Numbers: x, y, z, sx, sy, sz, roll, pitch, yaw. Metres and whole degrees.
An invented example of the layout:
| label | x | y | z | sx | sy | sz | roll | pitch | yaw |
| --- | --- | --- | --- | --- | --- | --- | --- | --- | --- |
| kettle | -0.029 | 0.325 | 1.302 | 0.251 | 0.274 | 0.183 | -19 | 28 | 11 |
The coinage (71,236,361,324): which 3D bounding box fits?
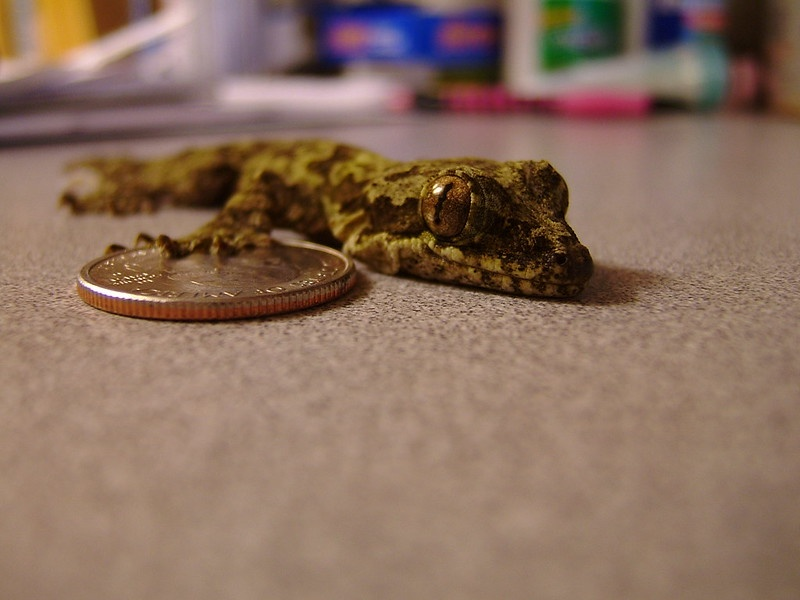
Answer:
| label | x | y | z | sx | sy | sz | roll | pitch | yaw |
| --- | --- | --- | --- | --- | --- | --- | --- | --- | --- |
| coinage | -0.240 | -0.029 | 1.135 | 0.347 | 0.048 | 0.246 | -9 | 21 | -21 |
